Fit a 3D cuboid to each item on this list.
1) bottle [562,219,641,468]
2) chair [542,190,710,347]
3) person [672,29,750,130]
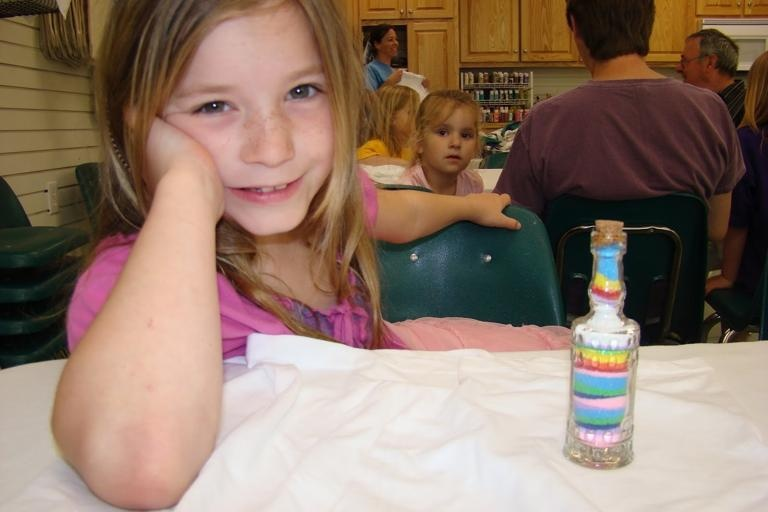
[{"bbox_3d":[0.295,0.112,0.820,0.090,0.310,0.141,3,17,22],"label":"bottle"},{"bbox_3d":[0.790,0.003,2.178,0.450,0.758,0.539,0,12,6],"label":"chair"},{"bbox_3d":[2.256,-1.174,4.089,0.441,0.709,0.352,9,32,41],"label":"person"}]
